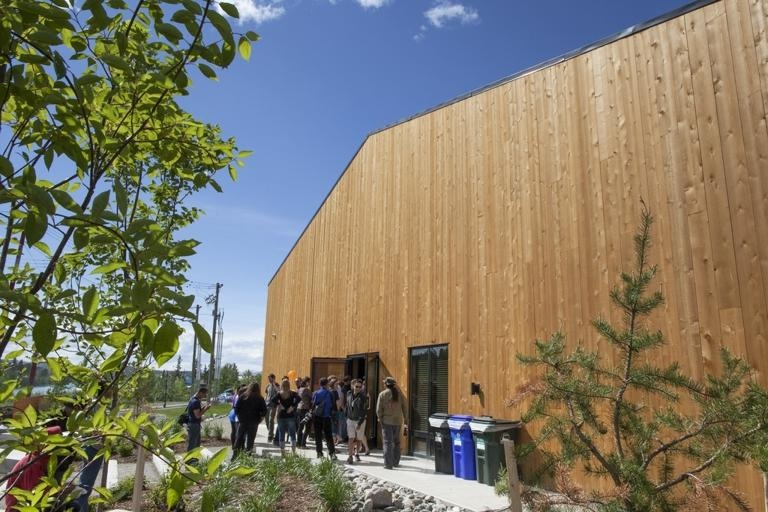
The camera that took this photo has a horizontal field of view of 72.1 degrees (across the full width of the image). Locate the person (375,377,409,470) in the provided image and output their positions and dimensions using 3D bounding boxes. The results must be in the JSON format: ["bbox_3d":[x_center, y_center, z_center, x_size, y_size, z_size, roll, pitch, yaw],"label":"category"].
[{"bbox_3d":[0.165,3.505,11.193,0.600,1.792,0.366,18,-23,-39],"label":"person"}]

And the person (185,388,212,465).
[{"bbox_3d":[-3.975,3.332,11.163,0.422,1.311,1.990,9,-20,-18],"label":"person"}]

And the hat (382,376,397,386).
[{"bbox_3d":[0.136,2.705,11.522,0.307,0.159,0.458,3,-7,-3],"label":"hat"}]
